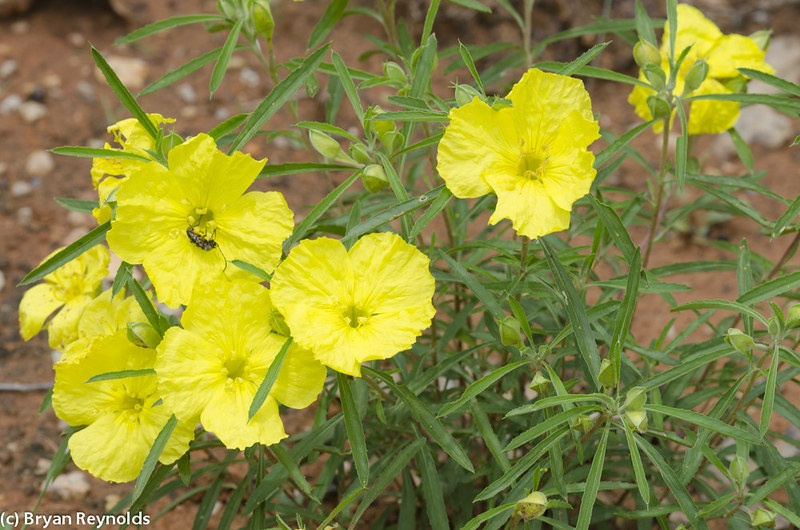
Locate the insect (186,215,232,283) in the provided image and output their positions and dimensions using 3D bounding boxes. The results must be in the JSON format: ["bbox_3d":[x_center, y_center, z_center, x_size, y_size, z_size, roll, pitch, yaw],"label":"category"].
[{"bbox_3d":[-0.773,-0.072,3.053,0.153,0.061,0.206,-39,91,22],"label":"insect"}]

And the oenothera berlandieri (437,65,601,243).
[{"bbox_3d":[0.491,-0.476,3.030,0.630,0.225,0.677,20,79,5],"label":"oenothera berlandieri"}]

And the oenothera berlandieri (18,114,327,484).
[{"bbox_3d":[-0.951,0.202,3.139,1.181,0.531,1.634,-6,92,-1],"label":"oenothera berlandieri"}]
